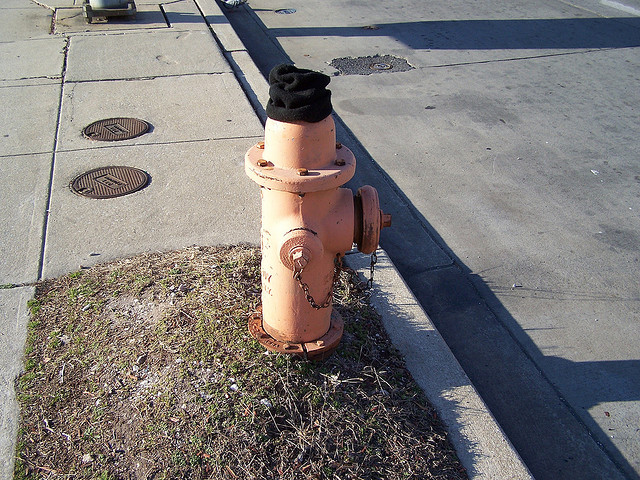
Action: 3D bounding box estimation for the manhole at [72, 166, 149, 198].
[{"bbox_3d":[-2.341,-0.637,5.868,0.769,0.067,0.591,-14,45,-14],"label":"manhole"}]

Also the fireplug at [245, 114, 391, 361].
[{"bbox_3d":[-0.069,0.054,3.988,1.052,1.895,0.920,-2,39,-6],"label":"fireplug"}]
